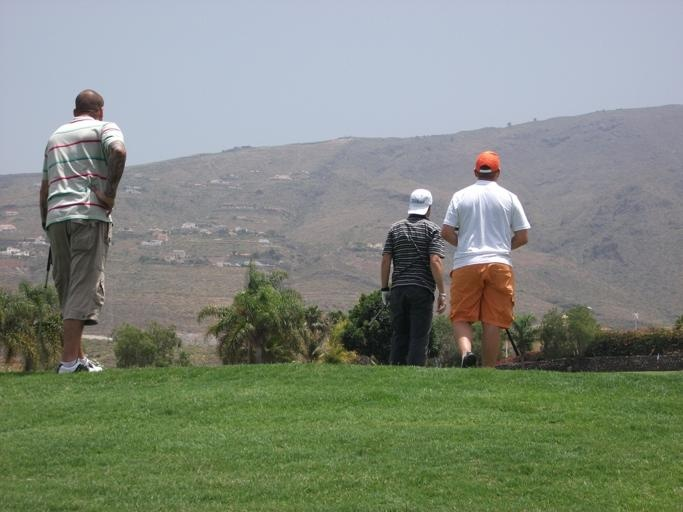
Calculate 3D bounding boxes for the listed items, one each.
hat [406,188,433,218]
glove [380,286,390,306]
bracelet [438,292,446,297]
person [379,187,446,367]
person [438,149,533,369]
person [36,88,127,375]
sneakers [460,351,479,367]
[{"bbox_3d":[1.130,-0.773,17.034,0.289,0.214,0.440,3,22,14],"label":"hat"},{"bbox_3d":[0.672,0.598,17.117,0.091,0.234,0.176,7,1,-24],"label":"glove"},{"bbox_3d":[1.421,0.549,16.530,0.066,0.062,0.066,-2,-6,23],"label":"bracelet"},{"bbox_3d":[1.009,0.309,16.729,0.937,2.427,0.792,-6,-1,12],"label":"person"},{"bbox_3d":[1.913,0.050,15.627,1.057,2.813,0.573,-5,-1,1],"label":"person"},{"bbox_3d":[-3.361,-0.340,15.421,1.143,3.375,0.798,-5,-1,-8],"label":"person"},{"bbox_3d":[1.679,1.360,15.424,0.123,0.128,0.300,2,-27,-4],"label":"sneakers"}]
